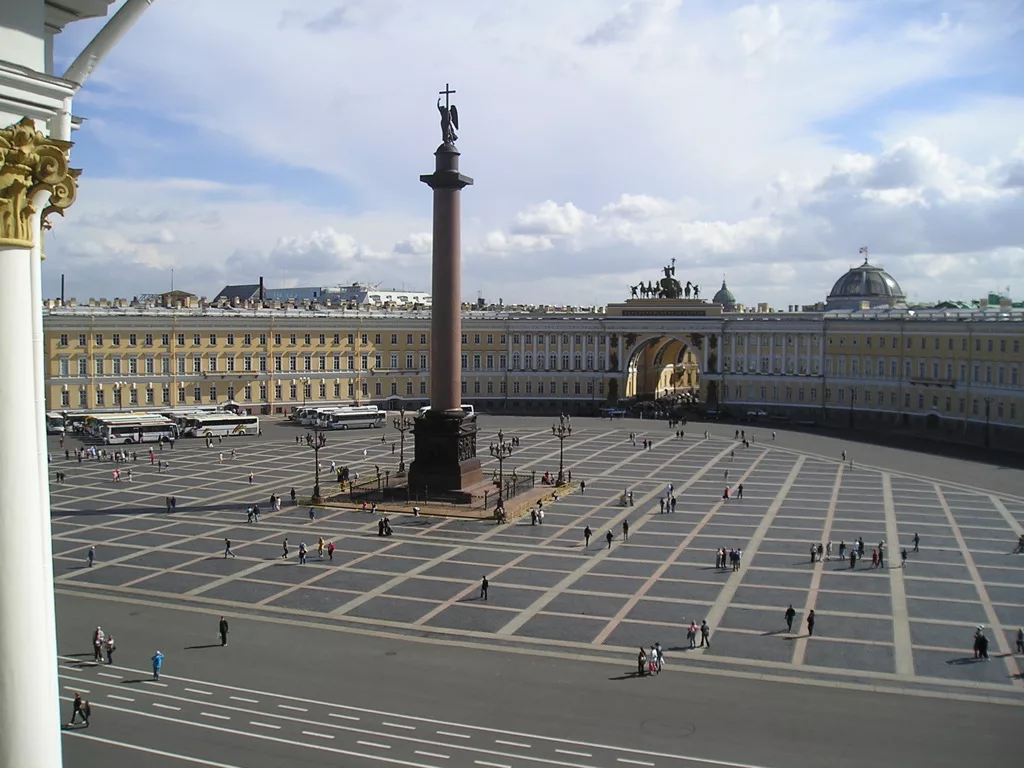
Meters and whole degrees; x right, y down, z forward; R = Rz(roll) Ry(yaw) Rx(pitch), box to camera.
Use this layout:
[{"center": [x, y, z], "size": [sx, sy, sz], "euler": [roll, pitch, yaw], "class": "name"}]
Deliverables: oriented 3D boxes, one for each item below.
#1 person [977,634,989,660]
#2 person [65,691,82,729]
[{"center": [19.709, 10.810, 42.710], "size": [0.316, 1.090, 1.595], "euler": [0, 3, 31], "class": "person"}, {"center": [-15.829, 11.621, 37.040], "size": [0.455, 0.992, 1.636], "euler": [-2, 3, -23], "class": "person"}]
